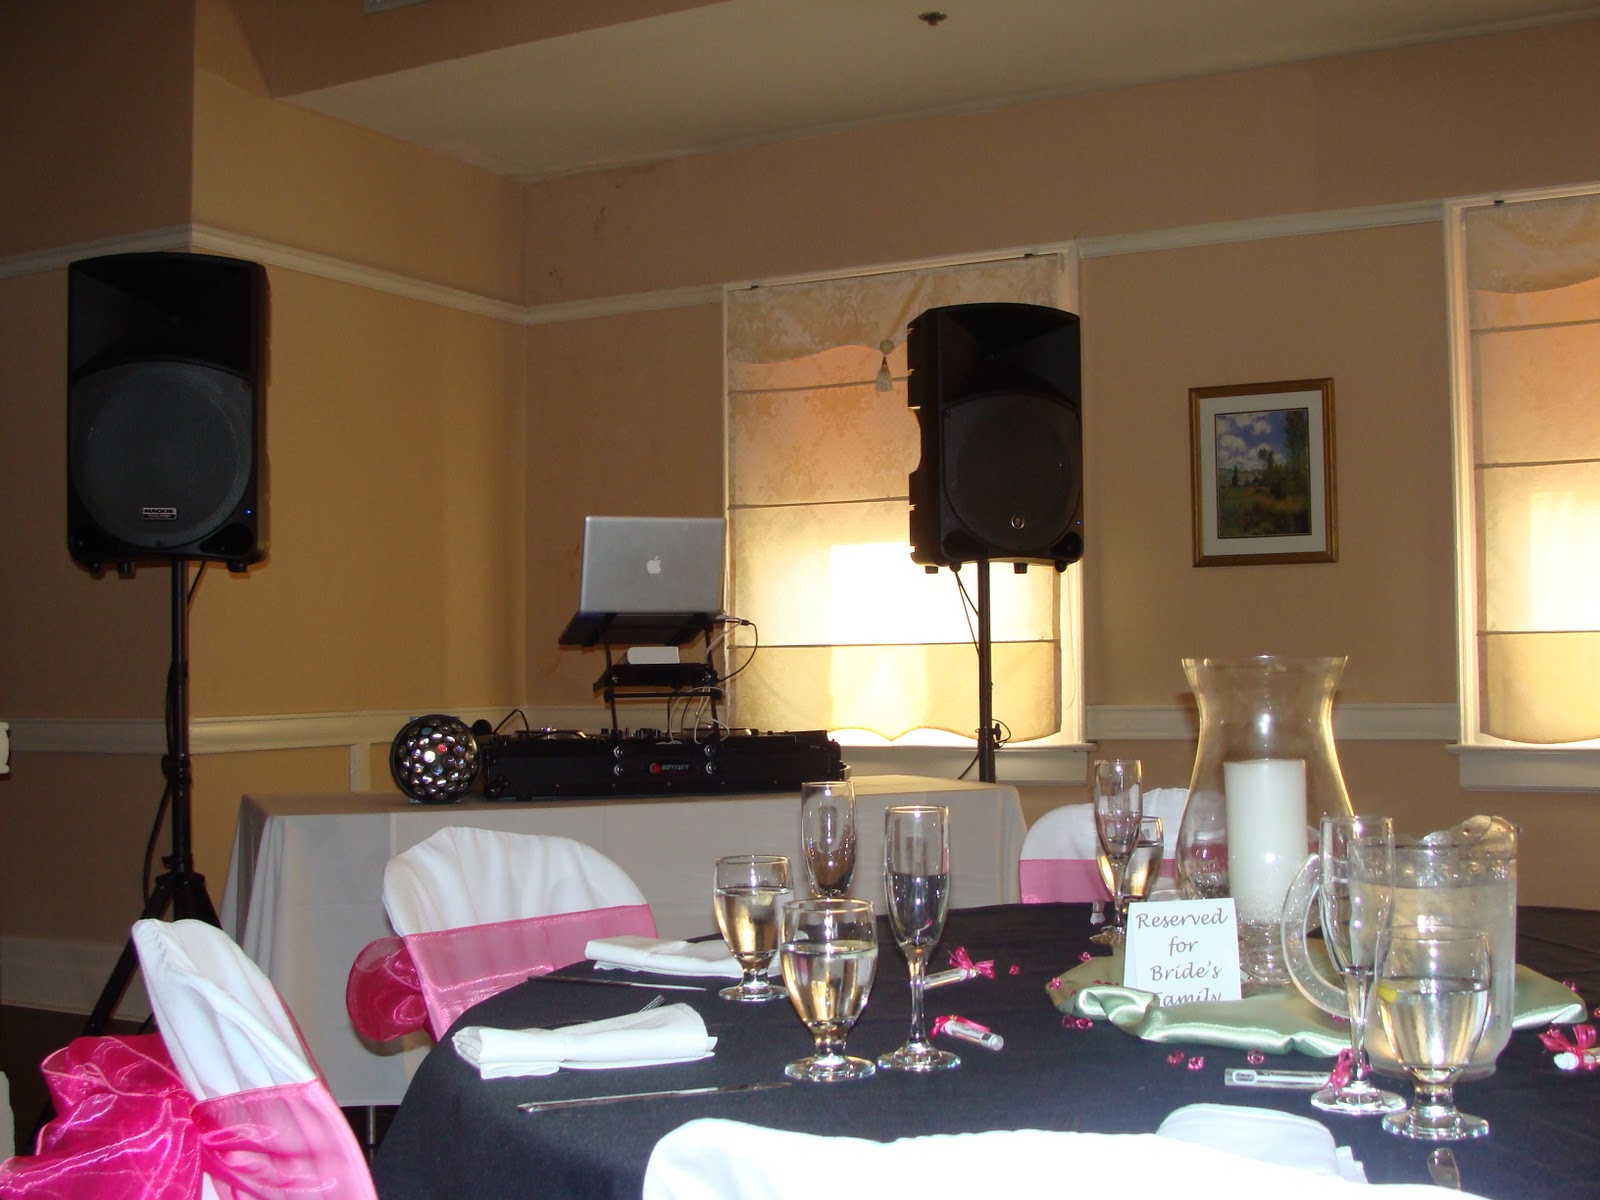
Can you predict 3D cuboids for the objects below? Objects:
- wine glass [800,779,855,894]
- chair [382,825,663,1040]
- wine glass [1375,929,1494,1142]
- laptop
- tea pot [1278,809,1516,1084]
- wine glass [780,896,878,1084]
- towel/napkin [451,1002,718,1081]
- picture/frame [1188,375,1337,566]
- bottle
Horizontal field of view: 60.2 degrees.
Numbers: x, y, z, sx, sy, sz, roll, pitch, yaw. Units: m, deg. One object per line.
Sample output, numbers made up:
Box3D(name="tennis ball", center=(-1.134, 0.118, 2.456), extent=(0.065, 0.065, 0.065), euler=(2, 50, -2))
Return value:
Box3D(name="wine glass", center=(0.036, 0.334, 1.866), extent=(0.075, 0.144, 0.054), euler=(-3, 2, -15))
Box3D(name="chair", center=(-0.468, 0.492, 2.262), extent=(0.347, 0.425, 0.296), euler=(-1, -1, -37))
Box3D(name="wine glass", center=(0.637, 0.425, 1.396), extent=(0.103, 0.206, 0.196), euler=(-2, 2, 22))
Box3D(name="laptop", center=(-0.425, -0.034, 3.828), extent=(0.479, 0.300, 0.511), euler=(-8, -12, 26))
Box3D(name="tea pot", center=(0.655, 0.384, 1.553), extent=(0.251, 0.287, 0.164), euler=(-2, 5, 2))
Box3D(name="wine glass", center=(0.033, 0.422, 1.517), extent=(0.114, 0.203, 0.124), euler=(-14, -33, 21))
Box3D(name="towel/napkin", center=(-0.236, 0.507, 1.576), extent=(0.169, 0.033, 0.119), euler=(0, -1, -21))
Box3D(name="picture/frame", center=(1.543, -0.415, 4.562), extent=(0.555, 0.786, 0.030), euler=(-1, -3, 26))
Box3D(name="bottle", center=(0.590, 0.274, 1.757), extent=(0.198, 0.379, 0.211), euler=(5, -16, 2))
